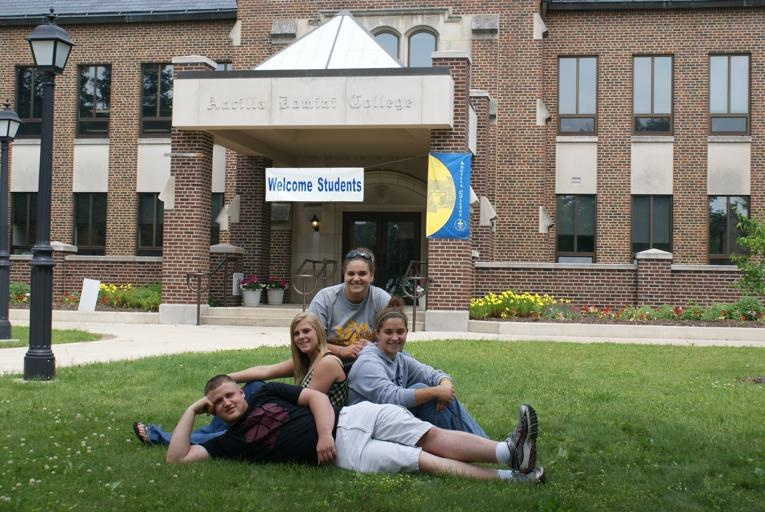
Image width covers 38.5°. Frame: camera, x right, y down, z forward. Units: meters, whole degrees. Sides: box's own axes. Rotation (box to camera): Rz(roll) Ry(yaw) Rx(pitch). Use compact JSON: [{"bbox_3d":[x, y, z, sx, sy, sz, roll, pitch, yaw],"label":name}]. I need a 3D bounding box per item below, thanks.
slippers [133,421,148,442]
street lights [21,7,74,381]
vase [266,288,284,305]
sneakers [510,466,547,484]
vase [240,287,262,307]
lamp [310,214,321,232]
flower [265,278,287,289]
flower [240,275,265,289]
[{"bbox_3d":[-4.313,3.161,19.525,0.186,0.428,0.191,-7,-9,-13],"label":"slippers"},{"bbox_3d":[-6.946,-1.137,22.535,0.711,7.340,0.480,1,-3,11],"label":"street lights"},{"bbox_3d":[-3.355,1.258,34.008,0.469,0.364,0.485,1,-1,4],"label":"vase"},{"bbox_3d":[2.463,3.733,18.675,0.589,0.290,0.225,3,-8,2],"label":"sneakers"},{"bbox_3d":[-3.939,1.232,32.854,0.530,0.401,0.529,3,-2,-30],"label":"vase"},{"bbox_3d":[-2.170,-1.041,35.297,0.297,0.545,0.273,4,-4,-36],"label":"lamp"},{"bbox_3d":[-3.384,0.879,34.177,0.407,0.229,0.399,2,-2,-43],"label":"flower"},{"bbox_3d":[-3.992,0.801,32.969,0.434,0.323,0.442,0,-4,-2],"label":"flower"}]
